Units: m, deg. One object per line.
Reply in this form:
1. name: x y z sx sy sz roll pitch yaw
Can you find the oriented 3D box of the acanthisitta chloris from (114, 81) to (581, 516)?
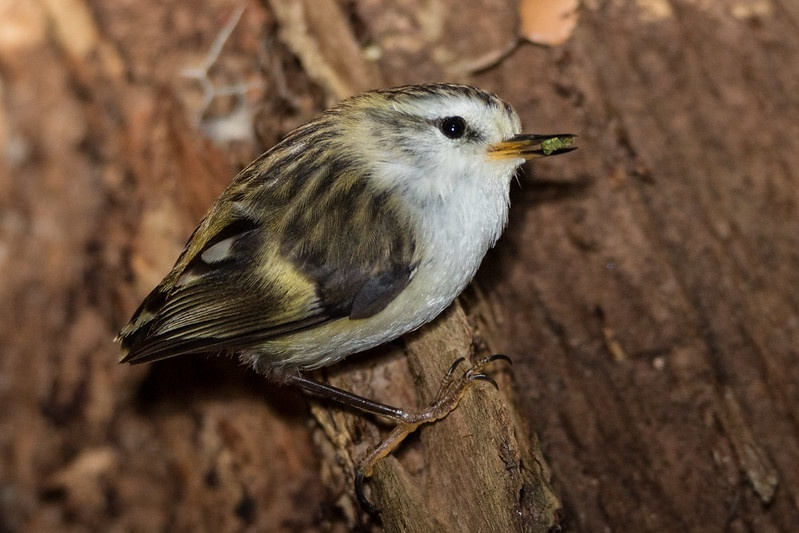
1. acanthisitta chloris: -0.363 0.100 4.724 2.254 1.972 1.312 -3 13 1
